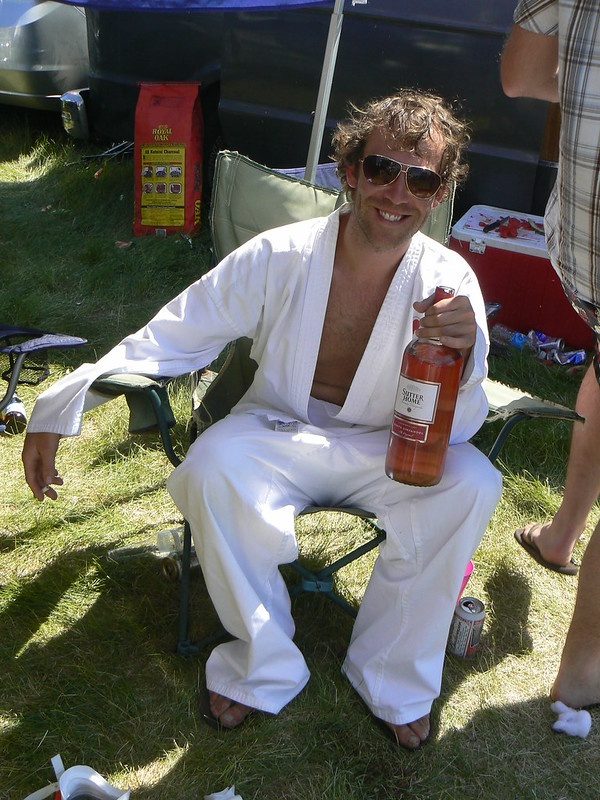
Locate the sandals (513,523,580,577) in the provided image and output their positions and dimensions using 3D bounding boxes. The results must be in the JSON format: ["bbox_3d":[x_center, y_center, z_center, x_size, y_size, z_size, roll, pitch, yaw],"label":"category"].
[{"bbox_3d":[0.750,0.482,2.065,0.087,0.055,0.209,-9,32,-31],"label":"sandals"}]

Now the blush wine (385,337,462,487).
[{"bbox_3d":[0.245,0.039,1.377,0.116,0.324,0.117,-10,29,-37],"label":"blush wine"}]

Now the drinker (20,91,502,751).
[{"bbox_3d":[-0.087,0.007,1.595,1.130,1.400,0.845,8,16,11],"label":"drinker"}]

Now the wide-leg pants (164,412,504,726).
[{"bbox_3d":[0.053,0.355,1.463,0.471,0.857,0.500,12,29,9],"label":"wide-leg pants"}]
